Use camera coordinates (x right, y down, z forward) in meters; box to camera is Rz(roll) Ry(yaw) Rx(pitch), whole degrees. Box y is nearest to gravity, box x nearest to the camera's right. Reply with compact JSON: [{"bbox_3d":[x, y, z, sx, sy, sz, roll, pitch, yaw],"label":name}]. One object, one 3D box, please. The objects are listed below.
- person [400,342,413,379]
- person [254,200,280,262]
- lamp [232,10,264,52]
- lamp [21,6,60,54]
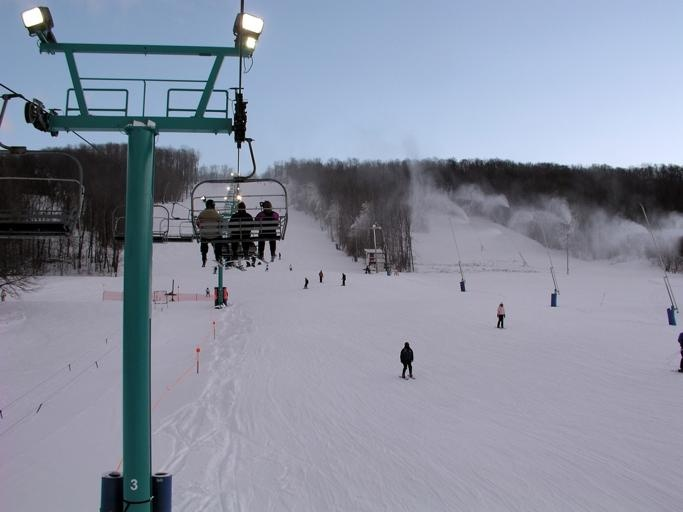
[{"bbox_3d":[2.857,4.454,25.366,0.513,1.634,1.101,-2,8,6],"label":"person"},{"bbox_3d":[-2.176,-0.810,17.130,0.606,1.987,0.645,-2,28,-14],"label":"person"},{"bbox_3d":[-2.388,-5.730,14.875,0.595,0.937,0.461,-7,9,-29],"label":"lamp"},{"bbox_3d":[-7.845,-5.862,15.009,0.714,1.097,0.338,-3,8,-4],"label":"lamp"}]
